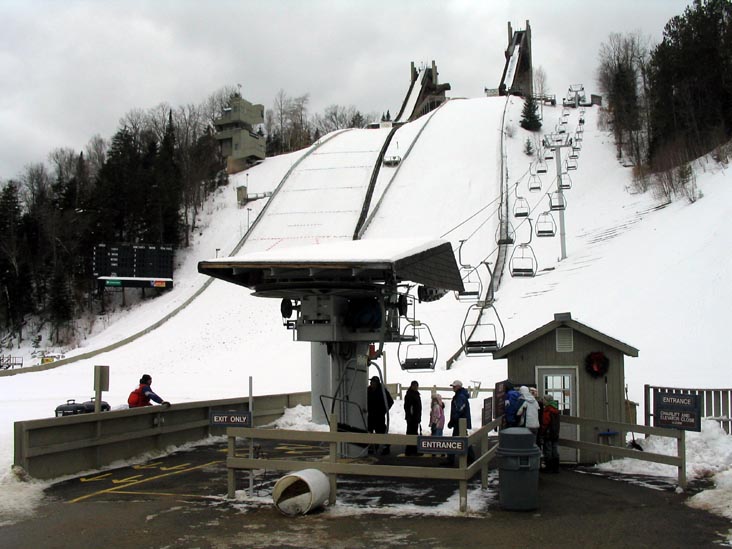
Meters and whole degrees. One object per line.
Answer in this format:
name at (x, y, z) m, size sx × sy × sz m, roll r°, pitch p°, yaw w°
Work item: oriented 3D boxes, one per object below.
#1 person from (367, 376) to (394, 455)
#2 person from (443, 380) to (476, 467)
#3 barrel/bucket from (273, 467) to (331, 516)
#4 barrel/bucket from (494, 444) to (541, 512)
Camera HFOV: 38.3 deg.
person at (0.555, 4.928, 37.472) m, size 0.783 × 2.860 × 0.606 m, roll 2°, pitch 2°, yaw 32°
person at (3.284, 5.260, 36.243) m, size 0.647 × 3.071 × 0.964 m, roll 4°, pitch 2°, yaw -20°
barrel/bucket at (-1.914, 6.808, 33.189) m, size 1.501 × 1.378 × 1.470 m, roll 2°, pitch -3°, yaw 0°
barrel/bucket at (4.721, 6.334, 32.722) m, size 1.220 × 1.842 × 0.665 m, roll -1°, pitch 7°, yaw 7°
